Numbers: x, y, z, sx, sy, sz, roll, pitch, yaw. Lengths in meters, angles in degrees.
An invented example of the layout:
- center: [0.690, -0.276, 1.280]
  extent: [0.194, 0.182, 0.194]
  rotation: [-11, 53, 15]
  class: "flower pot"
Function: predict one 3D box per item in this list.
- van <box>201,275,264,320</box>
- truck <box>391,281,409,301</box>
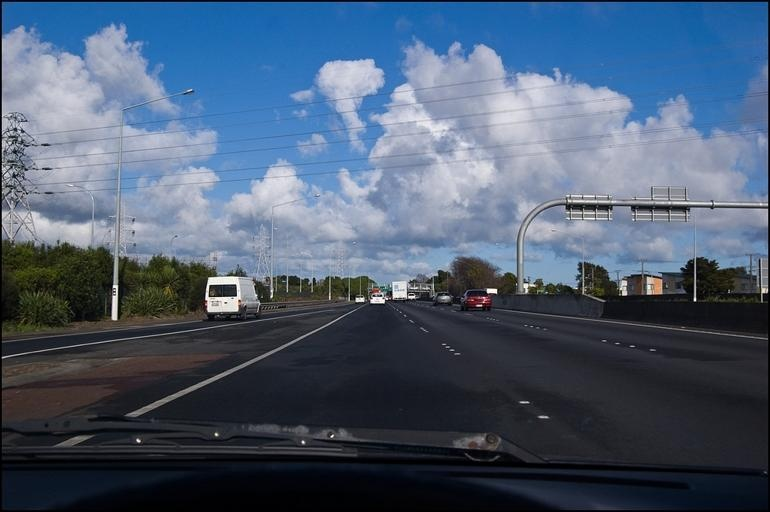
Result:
- center: [-8.049, 2.048, 40.493]
  extent: [3.098, 2.755, 5.697]
  rotation: [-2, -1, 8]
  class: "van"
- center: [1.945, 4.657, 108.600]
  extent: [2.866, 2.779, 4.598]
  rotation: [0, -6, 1]
  class: "truck"
